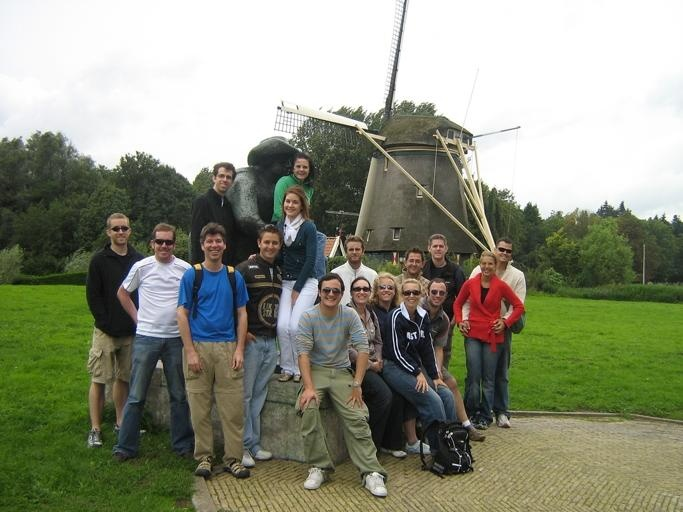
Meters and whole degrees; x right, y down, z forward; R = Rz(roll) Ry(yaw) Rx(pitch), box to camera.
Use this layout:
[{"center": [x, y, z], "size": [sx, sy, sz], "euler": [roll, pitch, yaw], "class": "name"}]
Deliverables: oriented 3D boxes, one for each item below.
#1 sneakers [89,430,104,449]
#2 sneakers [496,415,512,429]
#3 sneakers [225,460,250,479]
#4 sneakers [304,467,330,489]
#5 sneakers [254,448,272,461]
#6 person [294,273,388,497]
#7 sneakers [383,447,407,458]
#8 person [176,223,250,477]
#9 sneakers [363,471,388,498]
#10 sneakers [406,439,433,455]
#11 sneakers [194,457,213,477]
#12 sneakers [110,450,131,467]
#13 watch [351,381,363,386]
[{"center": [-3.181, 2.328, 6.310], "size": [0.180, 0.189, 0.217], "euler": [3, 2, -28], "class": "sneakers"}, {"center": [2.664, 2.703, 8.041], "size": [0.132, 0.123, 0.289], "euler": [-2, -11, 7], "class": "sneakers"}, {"center": [-1.239, 2.489, 5.781], "size": [0.137, 0.156, 0.336], "euler": [2, -8, -41], "class": "sneakers"}, {"center": [-0.273, 2.562, 5.761], "size": [0.181, 0.178, 0.467], "euler": [4, 2, 25], "class": "sneakers"}, {"center": [-1.001, 2.526, 6.267], "size": [0.258, 0.125, 0.099], "euler": [-3, -7, 24], "class": "sneakers"}, {"center": [-0.036, 1.451, 5.940], "size": [1.051, 2.042, 0.932], "euler": [3, 1, -6], "class": "person"}, {"center": [0.717, 2.609, 6.604], "size": [0.267, 0.127, 0.103], "euler": [-2, -2, 35], "class": "sneakers"}, {"center": [-1.534, 1.096, 5.848], "size": [0.865, 1.921, 0.590], "euler": [3, 2, -15], "class": "person"}, {"center": [0.396, 2.601, 5.636], "size": [0.256, 0.211, 0.273], "euler": [4, 2, -7], "class": "sneakers"}, {"center": [1.033, 2.579, 6.727], "size": [0.455, 0.204, 0.182], "euler": [0, -2, 8], "class": "sneakers"}, {"center": [-1.614, 2.460, 5.750], "size": [0.199, 0.141, 0.203], "euler": [3, 2, -16], "class": "sneakers"}, {"center": [-2.690, 2.434, 5.927], "size": [0.118, 0.098, 0.164], "euler": [-1, -4, 5], "class": "sneakers"}, {"center": [0.171, 1.568, 6.057], "size": [0.090, 0.073, 0.102], "euler": [3, -1, 6], "class": "watch"}]
